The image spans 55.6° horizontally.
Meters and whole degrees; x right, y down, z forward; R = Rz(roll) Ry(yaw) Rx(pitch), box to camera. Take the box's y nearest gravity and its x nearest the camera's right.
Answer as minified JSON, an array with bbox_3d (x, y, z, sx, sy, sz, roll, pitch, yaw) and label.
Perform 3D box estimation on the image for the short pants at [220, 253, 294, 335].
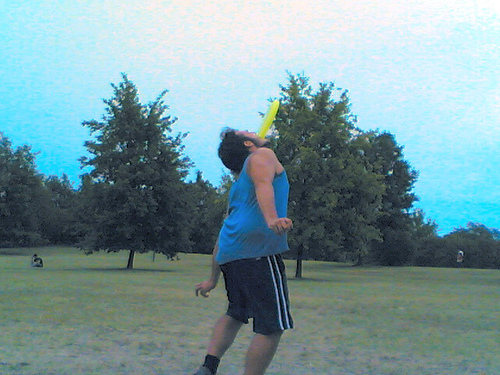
[{"bbox_3d":[0.047,1.121,5.066,0.469,0.818,0.724,6,-9,-38],"label":"short pants"}]

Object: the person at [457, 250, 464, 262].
[{"bbox_3d":[19.201,6.236,43.307,0.434,1.076,0.706,0,-7,7],"label":"person"}]

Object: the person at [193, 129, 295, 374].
[{"bbox_3d":[-0.025,0.684,5.091,0.983,2.776,1.194,0,-7,5],"label":"person"}]

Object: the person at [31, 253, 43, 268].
[{"bbox_3d":[-11.521,3.980,25.775,0.419,0.647,1.826,4,-8,-26],"label":"person"}]
